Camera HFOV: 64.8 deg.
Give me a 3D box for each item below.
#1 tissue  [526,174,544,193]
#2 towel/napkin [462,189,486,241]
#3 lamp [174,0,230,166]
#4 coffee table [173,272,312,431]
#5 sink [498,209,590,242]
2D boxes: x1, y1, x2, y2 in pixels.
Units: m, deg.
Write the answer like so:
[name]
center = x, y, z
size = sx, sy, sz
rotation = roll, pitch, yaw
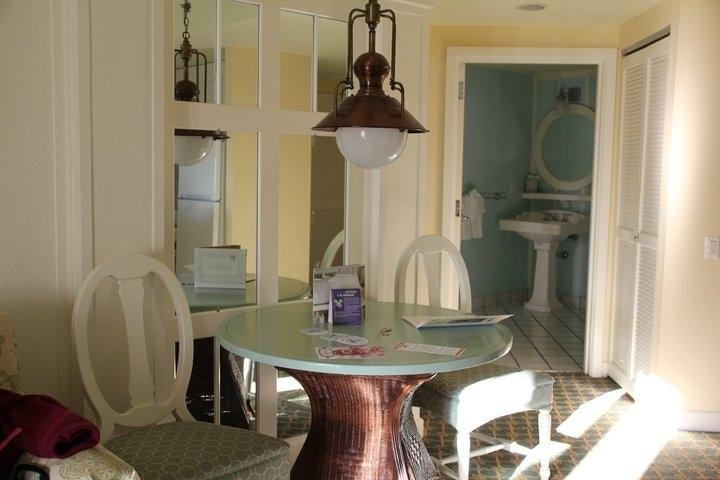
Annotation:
[tissue ]
center = 2.141, -0.721, 7.057
size = 0.202, 0.231, 0.203
rotation = -2, 5, -24
[towel/napkin]
center = 1.296, -0.317, 6.568
size = 0.124, 0.716, 0.552
rotation = 6, 9, 43
[lamp]
center = -0.902, -0.869, 3.111
size = 0.089, 0.888, 0.309
rotation = 11, 15, 42
[coffee table]
center = -0.855, 0.637, 3.626
size = 0.794, 0.862, 0.789
rotation = 4, 6, 37
[sink]
center = 2.174, -0.245, 6.739
size = 0.612, 0.515, 0.874
rotation = -5, 8, -30
